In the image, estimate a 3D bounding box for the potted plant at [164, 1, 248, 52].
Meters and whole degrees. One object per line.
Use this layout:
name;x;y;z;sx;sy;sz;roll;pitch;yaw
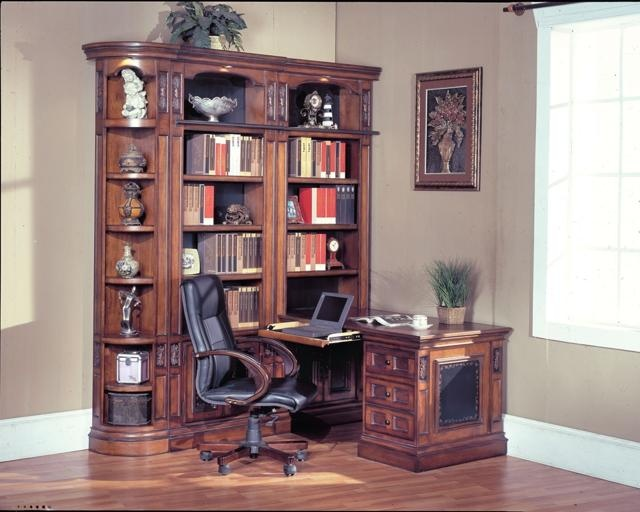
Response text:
potted plant;-0.872;-1.778;4.743;0.523;0.285;0.525;23;26;37

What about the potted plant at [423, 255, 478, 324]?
potted plant;0.986;0.324;4.647;0.260;0.375;0.301;2;-10;-8

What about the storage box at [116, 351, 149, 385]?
storage box;-1.300;0.807;4.465;0.226;0.270;0.235;-1;-2;32

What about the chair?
chair;-0.516;0.805;4.333;0.842;1.352;0.950;-3;6;-12

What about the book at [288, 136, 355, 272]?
book;-0.022;-0.437;5.263;0.694;1.119;0.239;-4;7;-26

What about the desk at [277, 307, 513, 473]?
desk;0.661;0.849;4.730;0.972;1.108;1.177;0;1;-35

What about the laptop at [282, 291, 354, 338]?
laptop;0.011;0.445;4.424;0.368;0.227;0.347;-4;6;-40

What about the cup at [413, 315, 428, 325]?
cup;0.720;0.462;4.393;0.082;0.056;0.080;1;1;0

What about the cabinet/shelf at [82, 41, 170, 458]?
cabinet/shelf;-1.429;-0.039;4.449;0.636;2.952;0.455;-1;6;2
